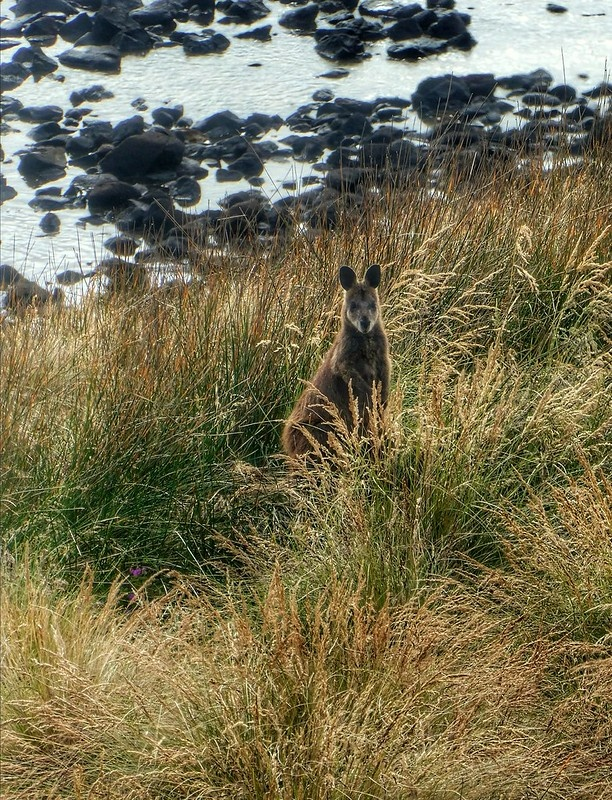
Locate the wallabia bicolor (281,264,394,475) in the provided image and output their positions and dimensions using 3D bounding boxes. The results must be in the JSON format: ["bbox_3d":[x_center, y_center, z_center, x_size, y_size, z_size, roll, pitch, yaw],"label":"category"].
[{"bbox_3d":[0.220,-0.203,6.329,0.342,0.810,1.077,-8,-5,-10],"label":"wallabia bicolor"}]
